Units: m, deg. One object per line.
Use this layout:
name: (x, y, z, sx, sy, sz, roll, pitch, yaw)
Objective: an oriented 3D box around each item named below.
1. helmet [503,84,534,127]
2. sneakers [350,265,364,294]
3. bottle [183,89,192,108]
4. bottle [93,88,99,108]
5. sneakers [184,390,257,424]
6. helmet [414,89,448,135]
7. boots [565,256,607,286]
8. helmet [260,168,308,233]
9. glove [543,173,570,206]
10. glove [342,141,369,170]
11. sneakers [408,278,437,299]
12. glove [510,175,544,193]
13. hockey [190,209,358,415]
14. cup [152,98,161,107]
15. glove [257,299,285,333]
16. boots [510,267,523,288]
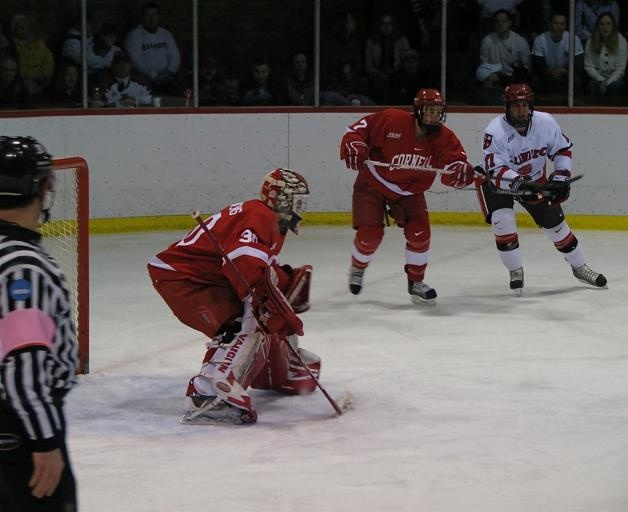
helmet: (1.372, -1.006, 5.915, 0.172, 0.282, 0.129, 1, 14, 3)
sneakers: (0.281, 0.161, 5.920, 0.080, 0.200, 0.090, 3, -6, -16)
bottle: (-1.202, -1.523, 8.450, 0.079, 0.174, 0.038, -5, 15, -23)
bottle: (-2.004, -1.465, 8.129, 0.058, 0.179, 0.074, -1, 14, -6)
sneakers: (-0.385, 0.616, 3.582, 0.245, 0.073, 0.144, 2, -2, -10)
helmet: (0.685, -0.937, 5.637, 0.247, 0.249, 0.282, -2, 11, -13)
boots: (1.968, 0.127, 6.105, 0.169, 0.113, 0.368, 39, -10, -34)
helmet: (-0.093, -0.258, 4.018, 0.320, 0.323, 0.267, -1, 4, 0)
glove: (1.665, -0.464, 5.958, 0.234, 0.197, 0.090, 2, -26, 34)
glove: (0.272, -0.653, 5.741, 0.187, 0.178, 0.130, -1, 13, -7)
sneakers: (0.701, 0.225, 5.813, 0.086, 0.089, 0.237, -22, 15, -23)
glove: (1.394, -0.477, 5.795, 0.170, 0.056, 0.115, 8, 21, 12)
hockey: (-0.162, 0.221, 3.716, 0.655, 0.910, 0.540, -1, 13, -6)
cup: (-1.489, -1.463, 8.360, 0.107, 0.072, 0.076, 1, 0, -3)
glove: (-0.190, 0.260, 3.655, 0.085, 0.144, 0.126, -10, 17, -39)
boots: (1.368, 0.158, 5.971, 0.082, 0.159, 0.175, 3, 13, 7)
